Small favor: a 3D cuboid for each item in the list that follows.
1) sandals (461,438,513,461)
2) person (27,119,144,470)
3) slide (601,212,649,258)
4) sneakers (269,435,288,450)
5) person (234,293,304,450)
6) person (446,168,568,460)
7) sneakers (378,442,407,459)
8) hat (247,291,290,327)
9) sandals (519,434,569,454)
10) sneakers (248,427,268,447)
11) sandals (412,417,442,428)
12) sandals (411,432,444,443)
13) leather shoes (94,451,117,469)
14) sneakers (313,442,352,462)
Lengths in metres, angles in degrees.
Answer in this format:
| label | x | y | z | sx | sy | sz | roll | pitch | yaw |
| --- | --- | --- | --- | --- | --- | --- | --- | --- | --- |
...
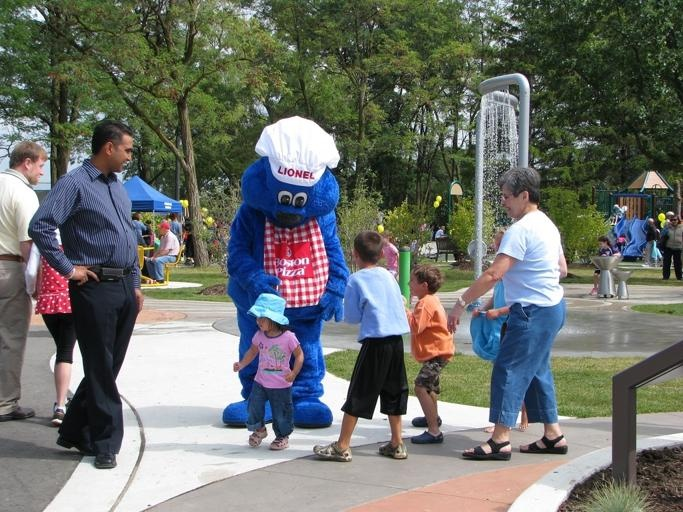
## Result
| label | x | y | z | sx | sy | sz | roll | pitch | yaw |
| --- | --- | --- | --- | --- | --- | --- | --- | --- | --- |
| sandals | 1.237 | 1.637 | 7.005 | 0.357 | 0.150 | 0.166 | 2 | -7 | 4 |
| person | -2.107 | 0.289 | 7.042 | 0.722 | 2.885 | 0.773 | 0 | 6 | 8 |
| slide | 9.617 | -0.678 | 28.365 | 1.412 | 1.785 | 0.547 | 16 | -6 | -24 |
| sneakers | -0.538 | 1.649 | 7.227 | 0.074 | 0.082 | 0.184 | -2 | -11 | 15 |
| person | -0.646 | 1.005 | 7.336 | 0.575 | 1.367 | 0.610 | -1 | 5 | -8 |
| person | 1.493 | 0.670 | 7.004 | 1.022 | 2.077 | 0.359 | -2 | 6 | -18 |
| sneakers | 0.444 | 1.663 | 7.080 | 0.239 | 0.112 | 0.104 | 2 | 1 | 44 |
| hat | -0.626 | 0.473 | 7.205 | 0.314 | 0.283 | 0.292 | -1 | 5 | -5 |
| sandals | 1.728 | 1.617 | 7.157 | 0.377 | 0.153 | 0.152 | 2 | -5 | 18 |
| sneakers | -0.709 | 1.590 | 7.307 | 0.096 | 0.104 | 0.247 | -2 | 12 | 21 |
| sandals | 0.805 | 1.590 | 7.871 | 0.271 | 0.111 | 0.133 | 3 | -3 | 12 |
| sandals | 0.760 | 1.636 | 7.414 | 0.213 | 0.084 | 0.119 | 1 | -4 | 3 |
| leather shoes | -1.920 | 1.699 | 6.846 | 0.185 | 0.078 | 0.092 | -1 | 2 | 41 |
| sneakers | -0.061 | 1.654 | 7.004 | 0.336 | 0.149 | 0.136 | 8 | -9 | 6 |
